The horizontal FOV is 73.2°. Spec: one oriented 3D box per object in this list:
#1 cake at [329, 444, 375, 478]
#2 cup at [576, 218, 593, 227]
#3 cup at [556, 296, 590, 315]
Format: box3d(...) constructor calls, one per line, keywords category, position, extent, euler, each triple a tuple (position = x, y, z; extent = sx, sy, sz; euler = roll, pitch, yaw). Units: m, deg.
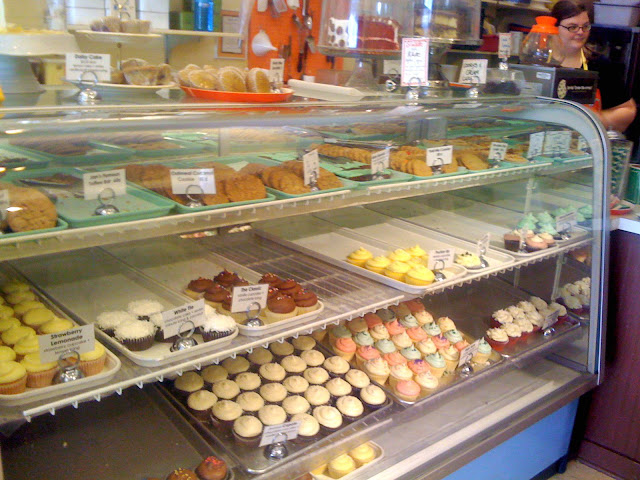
box3d(category="cake", position=(0.139, 0.928, 1.815), extent=(0.207, 0.054, 0.129), euler=(-12, 25, -31))
box3d(category="cup", position=(1.429, -0.095, 2.322), extent=(0.060, 0.031, 0.051), euler=(-8, 14, -23))
box3d(category="cup", position=(1.462, 0.381, 2.488), extent=(0.113, 0.041, 0.147), euler=(-21, 33, -39))
